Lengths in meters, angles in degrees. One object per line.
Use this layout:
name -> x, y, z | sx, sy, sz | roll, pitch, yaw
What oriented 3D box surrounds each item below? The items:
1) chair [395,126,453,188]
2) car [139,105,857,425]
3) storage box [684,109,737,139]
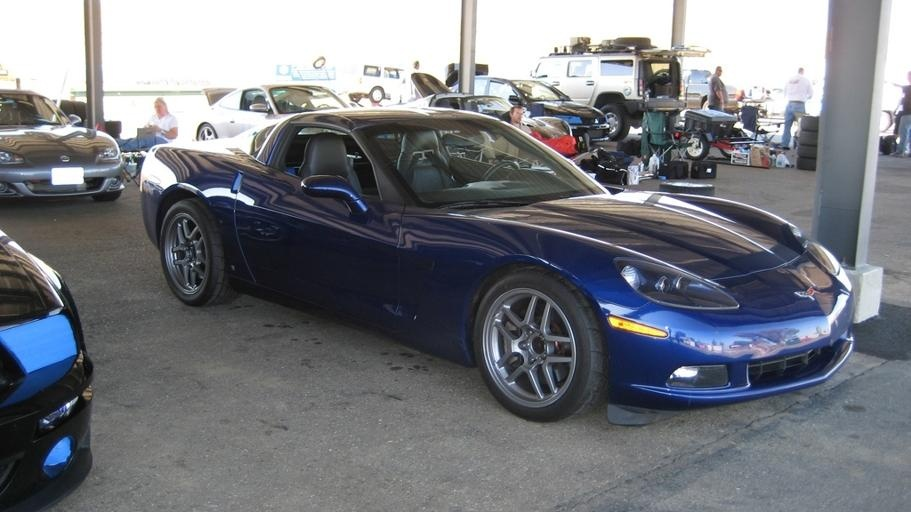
chair -> -0.260, -0.791, 5.104 | 0.516, 0.607, 0.326 | 4, 1, -8
car -> -0.008, -0.200, 5.357 | 5.995, 1.956, 2.190 | 12, 20, 31
storage box -> 6.632, -3.451, 15.951 | 1.329, 0.798, 0.928 | -6, 17, -42
